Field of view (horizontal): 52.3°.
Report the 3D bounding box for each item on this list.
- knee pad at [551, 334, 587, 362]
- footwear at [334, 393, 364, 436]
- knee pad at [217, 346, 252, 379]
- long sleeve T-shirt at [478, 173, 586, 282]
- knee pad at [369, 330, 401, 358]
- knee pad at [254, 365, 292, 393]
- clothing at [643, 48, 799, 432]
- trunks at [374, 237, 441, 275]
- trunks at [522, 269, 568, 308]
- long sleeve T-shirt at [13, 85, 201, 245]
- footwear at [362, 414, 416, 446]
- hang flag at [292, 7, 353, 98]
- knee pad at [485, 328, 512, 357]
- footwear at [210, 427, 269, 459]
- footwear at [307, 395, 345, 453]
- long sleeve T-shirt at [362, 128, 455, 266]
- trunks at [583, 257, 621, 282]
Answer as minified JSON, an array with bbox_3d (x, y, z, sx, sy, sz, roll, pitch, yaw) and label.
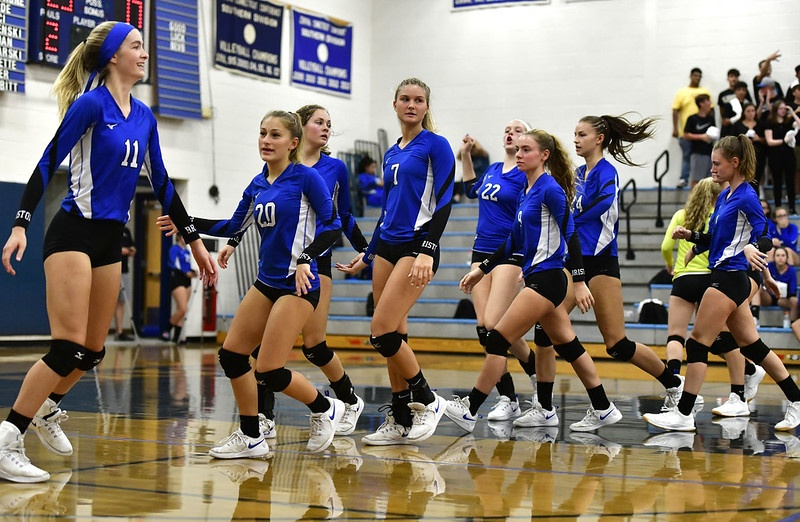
[{"bbox_3d":[1.429,0.742,6.897,0.225,0.178,0.230,-33,12,-7],"label":"knee pad"},{"bbox_3d":[-0.401,1.256,6.723,0.148,0.375,0.153,15,-17,41],"label":"footwear"},{"bbox_3d":[-1.153,0.705,5.694,0.217,0.186,0.224,-1,-1,39],"label":"knee pad"},{"bbox_3d":[1.239,-0.280,7.095,0.876,1.155,0.900,4,-8,-12],"label":"long sleeve T-shirt"},{"bbox_3d":[-0.101,0.616,6.234,0.182,0.142,0.233,-9,16,-8],"label":"knee pad"},{"bbox_3d":[-0.890,0.842,5.741,0.203,0.144,0.193,14,-9,-24],"label":"knee pad"},{"bbox_3d":[2.837,0.210,6.928,1.223,2.174,0.719,2,0,-21],"label":"clothing"},{"bbox_3d":[0.053,0.052,6.260,0.260,0.417,0.482,6,-3,-39],"label":"trunks"},{"bbox_3d":[1.185,0.279,6.640,0.288,0.361,0.400,3,-5,1],"label":"trunks"},{"bbox_3d":[-1.959,-0.651,5.494,1.120,1.077,0.269,2,0,-34],"label":"long sleeve T-shirt"},{"bbox_3d":[-0.081,1.357,6.480,0.455,0.207,0.159,4,-7,-19],"label":"footwear"},{"bbox_3d":[-1.852,-4.772,18.704,0.102,2.252,2.406,-5,-6,41],"label":"hang flag"},{"bbox_3d":[0.780,0.667,6.581,0.226,0.181,0.198,8,-3,-11],"label":"knee pad"},{"bbox_3d":[-1.136,1.346,5.958,0.471,0.200,0.176,3,-6,-9],"label":"footwear"},{"bbox_3d":[-0.557,1.247,6.113,0.177,0.487,0.232,14,-5,42],"label":"footwear"},{"bbox_3d":[0.074,-0.504,6.322,0.701,0.973,0.261,1,0,37],"label":"long sleeve T-shirt"},{"bbox_3d":[1.761,0.144,7.073,0.362,0.239,0.207,-1,-20,3],"label":"trunks"}]
